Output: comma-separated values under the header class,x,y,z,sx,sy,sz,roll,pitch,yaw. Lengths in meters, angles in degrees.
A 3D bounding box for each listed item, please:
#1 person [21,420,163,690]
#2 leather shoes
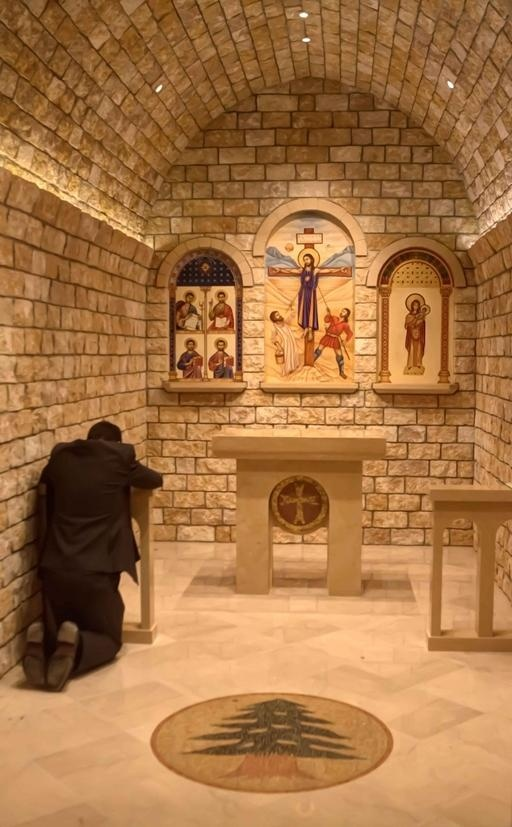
class,x,y,z,sx,sy,sz,roll,pitch,yaw
person,-1.103,0.861,4.058,0.844,1.619,0.814,0,-3,-23
leather shoes,-1.217,1.466,3.674,0.281,0.400,0.122,1,-8,-1
